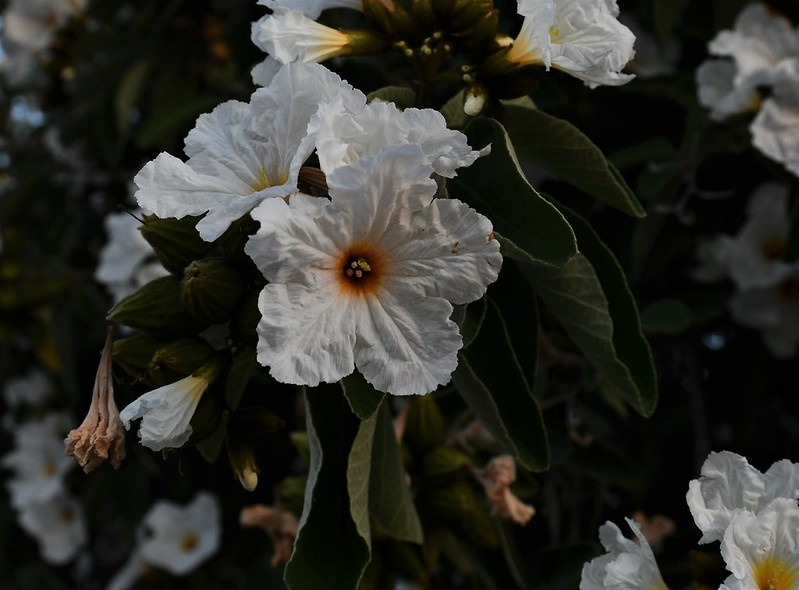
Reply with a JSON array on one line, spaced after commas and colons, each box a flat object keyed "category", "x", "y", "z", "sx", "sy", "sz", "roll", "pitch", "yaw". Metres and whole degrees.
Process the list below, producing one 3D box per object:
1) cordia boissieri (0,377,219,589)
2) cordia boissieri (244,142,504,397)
[{"category": "cordia boissieri", "x": -0.689, "y": 0.470, "z": 2.299, "sx": 0.604, "sy": 0.129, "sz": 0.340, "roll": 32, "pitch": 82, "yaw": 2}, {"category": "cordia boissieri", "x": -0.090, "y": -0.028, "z": 1.412, "sx": 0.339, "sy": 0.146, "sz": 0.432, "roll": 5, "pitch": 49, "yaw": -4}]
